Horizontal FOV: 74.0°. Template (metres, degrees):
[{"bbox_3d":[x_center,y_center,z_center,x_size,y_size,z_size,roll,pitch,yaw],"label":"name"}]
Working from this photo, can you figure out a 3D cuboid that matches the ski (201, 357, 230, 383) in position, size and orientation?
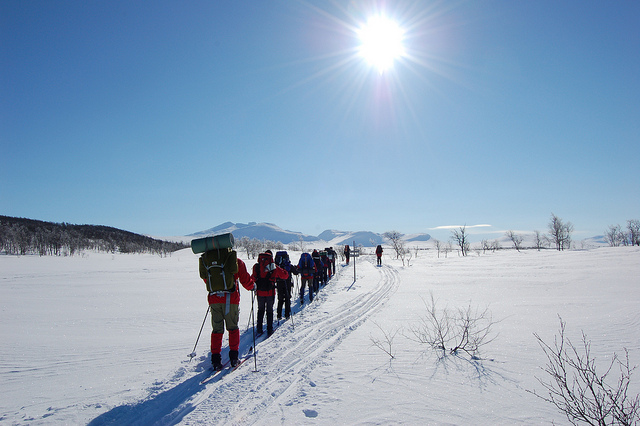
[{"bbox_3d":[-3.862,5.847,15.660,0.153,0.159,1.420,-36,4,32],"label":"ski"}]

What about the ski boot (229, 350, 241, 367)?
[{"bbox_3d":[-3.195,5.467,15.988,0.410,0.607,0.195,-2,-6,-20],"label":"ski boot"}]

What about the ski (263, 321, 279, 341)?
[{"bbox_3d":[-2.104,5.212,18.588,0.147,0.208,1.378,0,18,13],"label":"ski"}]
